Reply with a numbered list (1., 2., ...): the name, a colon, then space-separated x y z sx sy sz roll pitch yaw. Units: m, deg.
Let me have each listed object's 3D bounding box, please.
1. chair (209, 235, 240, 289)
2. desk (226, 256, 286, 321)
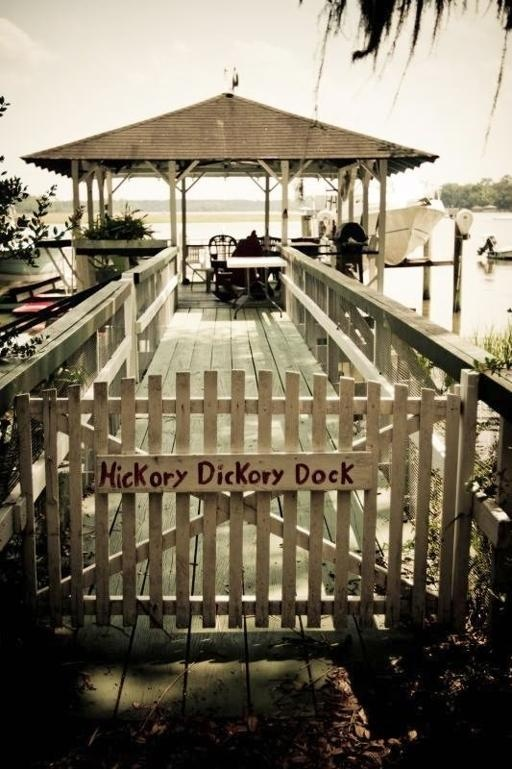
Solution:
1. chair: -0.685 -2.503 11.947 0.386 0.952 0.595 3 7 -7
2. desk: 0.002 -1.699 10.301 0.953 1.136 2.719 0 5 -3
